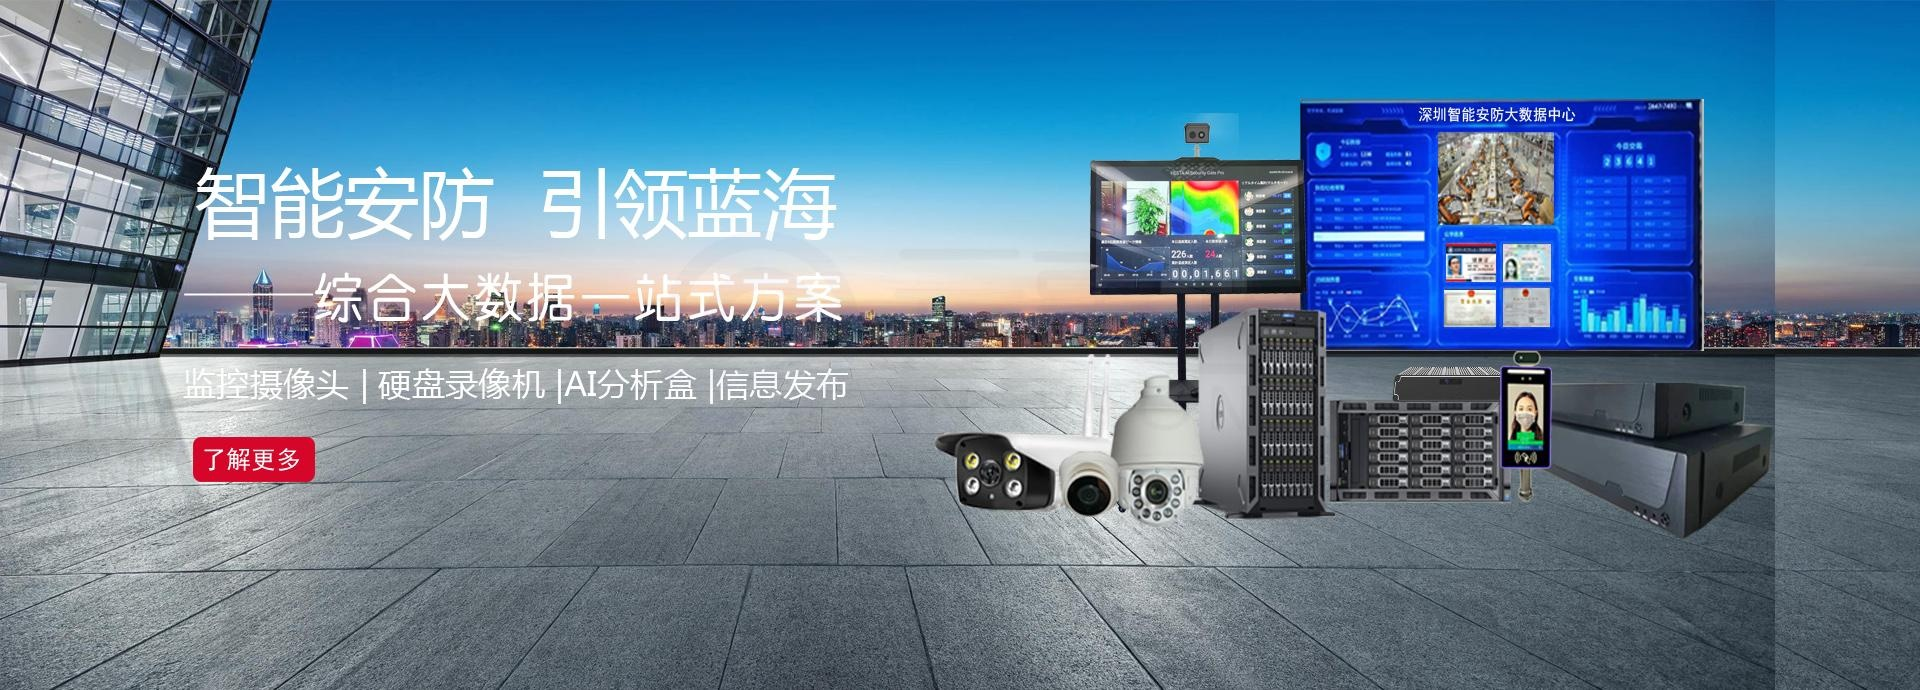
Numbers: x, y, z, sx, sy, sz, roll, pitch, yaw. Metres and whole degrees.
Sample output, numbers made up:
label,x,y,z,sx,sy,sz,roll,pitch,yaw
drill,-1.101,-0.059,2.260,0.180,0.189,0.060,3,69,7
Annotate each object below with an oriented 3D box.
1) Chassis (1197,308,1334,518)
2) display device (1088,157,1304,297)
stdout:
label,x,y,z,sx,sy,sz,roll,pitch,yaw
Chassis,7.730,1.750,21.388,2.951,5.233,0.472,-1,2,2
display device,6.581,-3.167,22.850,9.259,3.402,0.515,0,-1,1
